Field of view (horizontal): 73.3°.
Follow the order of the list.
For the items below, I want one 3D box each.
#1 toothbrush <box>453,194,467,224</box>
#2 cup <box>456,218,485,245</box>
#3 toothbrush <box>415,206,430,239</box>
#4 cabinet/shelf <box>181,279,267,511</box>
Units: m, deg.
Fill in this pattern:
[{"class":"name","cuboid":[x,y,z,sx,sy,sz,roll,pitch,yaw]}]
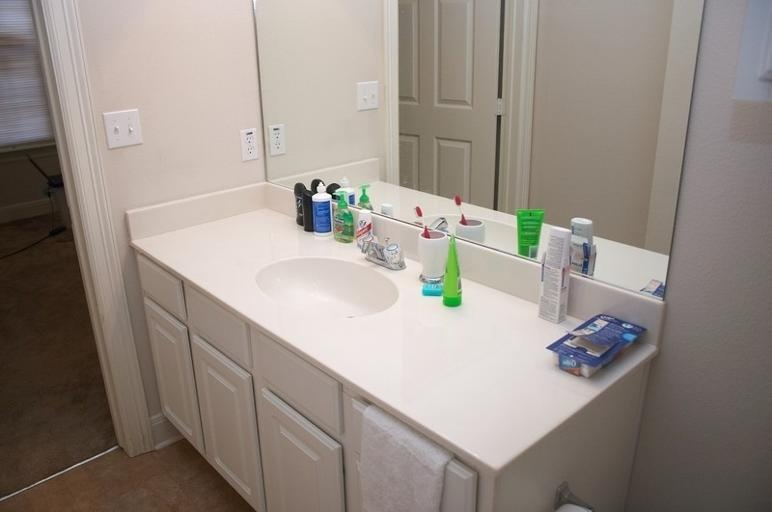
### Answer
[{"class":"toothbrush","cuboid":[0.276,-0.176,1.934,0.027,0.155,0.023,-1,33,25]},{"class":"cup","cuboid":[0.310,-0.096,1.935,0.089,0.087,0.090,0,13,0]},{"class":"toothbrush","cuboid":[0.144,-0.133,2.011,0.036,0.161,0.049,-10,3,15]},{"class":"cabinet/shelf","cuboid":[-0.634,0.557,2.028,0.130,0.819,0.515,-19,30,-36]}]
